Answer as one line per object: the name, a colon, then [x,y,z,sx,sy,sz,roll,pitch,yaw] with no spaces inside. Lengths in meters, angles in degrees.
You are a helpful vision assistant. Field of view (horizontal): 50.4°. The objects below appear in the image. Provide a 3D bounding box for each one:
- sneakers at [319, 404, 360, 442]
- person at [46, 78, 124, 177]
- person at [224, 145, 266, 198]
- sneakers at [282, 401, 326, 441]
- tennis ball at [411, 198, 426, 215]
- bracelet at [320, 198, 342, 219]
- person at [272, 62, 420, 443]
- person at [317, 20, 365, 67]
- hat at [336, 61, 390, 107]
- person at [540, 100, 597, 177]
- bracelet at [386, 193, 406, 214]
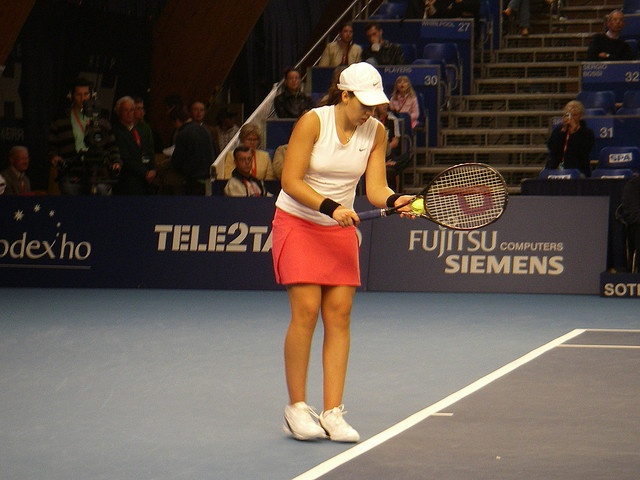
sneakers: [0.116,1.052,3.985,0.272,0.207,0.119,11,11,38]
person: [-3.559,-1.698,10.276,0.995,1.467,0.915,-2,4,-26]
person: [-1.081,-0.914,9.730,0.752,0.943,0.538,-3,6,-24]
sneakers: [-0.113,1.047,3.990,0.123,0.166,0.330,-3,4,-31]
tennis ball: [0.576,-0.201,3.988,0.071,0.089,0.087,3,-6,-44]
bracelet: [0.048,-0.178,3.744,0.092,0.079,0.099,21,-2,9]
person: [0.088,0.070,3.941,0.715,2.149,0.586,-1,4,-6]
person: [0.401,-4.132,14.502,0.756,0.980,0.970,-3,5,-36]
hat: [0.235,-0.866,3.763,0.182,0.155,0.276,-13,34,-34]
person: [4.142,-1.697,11.281,0.703,1.234,0.398,1,4,20]
bracelet: [0.449,-0.218,4.025,0.093,0.117,0.111,10,-39,-28]
